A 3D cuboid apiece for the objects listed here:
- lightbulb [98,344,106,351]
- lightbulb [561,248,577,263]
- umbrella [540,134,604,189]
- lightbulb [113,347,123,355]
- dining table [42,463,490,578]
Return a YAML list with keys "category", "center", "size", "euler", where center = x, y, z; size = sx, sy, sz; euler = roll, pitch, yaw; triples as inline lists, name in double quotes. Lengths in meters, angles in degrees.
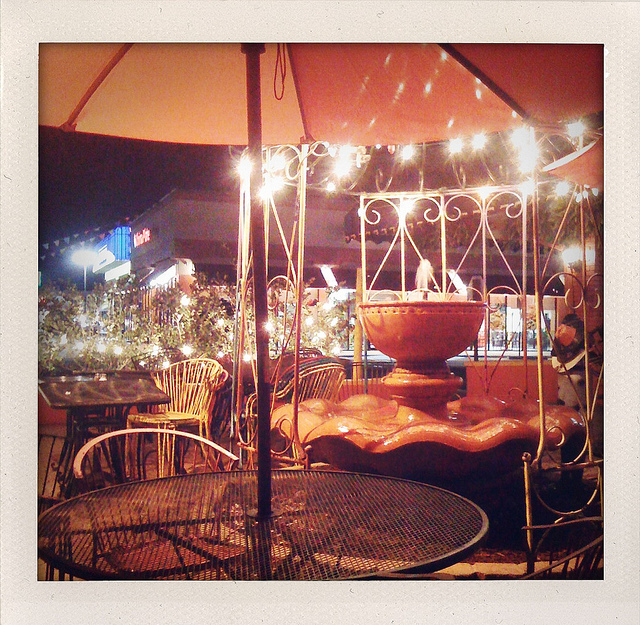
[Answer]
- category: "lightbulb"
  center: [-2.249, 0.348, 7.339]
  size: [0.032, 0.065, 0.092]
  euler: [5, 9, 27]
- category: "lightbulb"
  center: [2.200, -0.519, 6.266]
  size: [0.105, 0.145, 0.124]
  euler: [-19, 9, 11]
- category: "umbrella"
  center: [1.230, -0.735, 3.426]
  size: [0.269, 0.251, 0.217]
  euler: [-1, 8, -18]
- category: "lightbulb"
  center: [-2.112, 0.387, 7.454]
  size: [0.105, 0.069, 0.041]
  euler: [-4, 9, -36]
- category: "dining table"
  center: [-0.182, 0.697, 2.561]
  size: [1.526, 0.310, 0.710]
  euler: [3, 9, 3]
